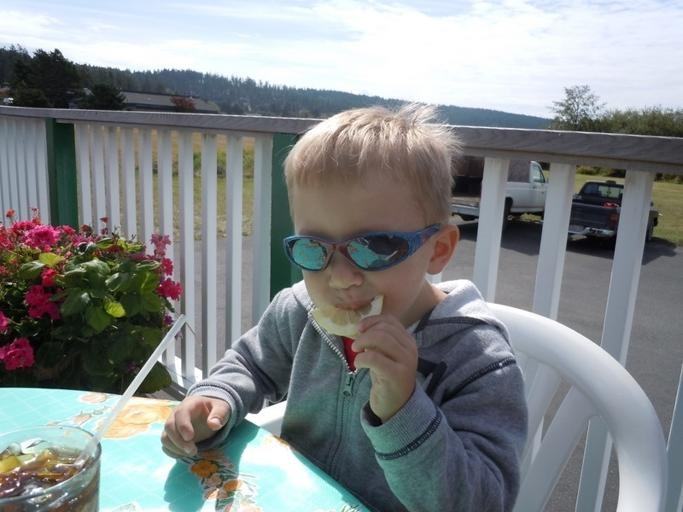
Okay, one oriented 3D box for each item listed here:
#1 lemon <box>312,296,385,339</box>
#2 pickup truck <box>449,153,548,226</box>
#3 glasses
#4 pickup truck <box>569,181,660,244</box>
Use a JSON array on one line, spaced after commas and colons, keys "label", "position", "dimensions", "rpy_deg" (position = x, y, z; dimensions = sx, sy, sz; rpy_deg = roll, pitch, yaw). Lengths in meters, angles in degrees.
[{"label": "lemon", "position": [0.013, 0.147, 1.523], "dimensions": [0.207, 0.124, 0.135], "rpy_deg": [3, 9, 5]}, {"label": "pickup truck", "position": [4.896, -1.891, 15.596], "dimensions": [3.540, 1.824, 1.805], "rpy_deg": [-5, 16, -26]}, {"label": "glasses", "position": [0.040, -0.016, 1.544], "dimensions": [0.435, 0.132, 0.109], "rpy_deg": [2, 11, 6]}, {"label": "pickup truck", "position": [6.930, -1.085, 13.880], "dimensions": [3.360, 1.558, 1.694], "rpy_deg": [-7, 15, -43]}]
